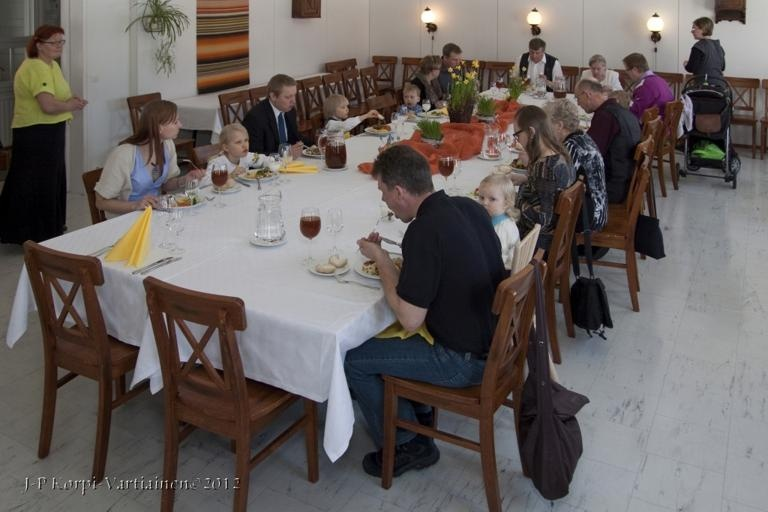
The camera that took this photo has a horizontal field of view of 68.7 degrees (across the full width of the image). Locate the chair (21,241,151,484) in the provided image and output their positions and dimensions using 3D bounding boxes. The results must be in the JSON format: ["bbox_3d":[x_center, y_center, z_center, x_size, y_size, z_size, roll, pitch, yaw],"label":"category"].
[{"bbox_3d":[-1.580,0.511,2.940,0.605,1.217,0.508,10,21,36],"label":"chair"}]

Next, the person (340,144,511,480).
[{"bbox_3d":[0.203,0.318,2.825,0.750,1.668,0.494,3,17,20],"label":"person"}]

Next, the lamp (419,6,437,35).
[{"bbox_3d":[0.784,-4.086,9.781,0.273,0.459,0.188,-1,17,6],"label":"lamp"}]

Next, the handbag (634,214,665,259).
[{"bbox_3d":[2.048,-0.136,4.337,0.258,0.322,0.105,2,-6,-6],"label":"handbag"}]

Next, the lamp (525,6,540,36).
[{"bbox_3d":[2.448,-3.787,9.158,0.234,0.448,0.182,3,17,17],"label":"lamp"}]

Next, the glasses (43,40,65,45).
[{"bbox_3d":[-2.788,-1.796,4.740,0.052,0.041,0.145,10,23,34],"label":"glasses"}]

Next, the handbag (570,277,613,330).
[{"bbox_3d":[1.440,0.291,3.937,0.210,0.408,0.334,-5,6,-13],"label":"handbag"}]

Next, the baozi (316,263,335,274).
[{"bbox_3d":[-0.300,0.066,2.838,0.103,0.032,0.049,-3,19,0],"label":"baozi"}]

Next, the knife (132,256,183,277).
[{"bbox_3d":[-1.165,0.045,2.889,0.068,0.014,0.267,17,26,16],"label":"knife"}]

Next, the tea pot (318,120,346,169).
[{"bbox_3d":[-0.350,-0.828,4.436,0.177,0.329,0.303,7,10,36],"label":"tea pot"}]

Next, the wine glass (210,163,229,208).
[{"bbox_3d":[-1.090,-0.486,3.733,0.106,0.232,0.395,-8,19,-16],"label":"wine glass"}]

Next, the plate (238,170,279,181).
[{"bbox_3d":[-0.910,-0.574,4.063,0.275,0.074,0.146,-9,20,-16],"label":"plate"}]

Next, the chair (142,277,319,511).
[{"bbox_3d":[-0.729,0.653,2.684,0.602,1.171,0.719,13,28,21],"label":"chair"}]

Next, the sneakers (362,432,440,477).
[{"bbox_3d":[0.057,1.036,3.080,0.443,0.253,0.178,-4,13,-16],"label":"sneakers"}]

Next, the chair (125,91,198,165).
[{"bbox_3d":[-2.456,-1.272,6.212,0.573,0.865,0.624,-17,33,-37],"label":"chair"}]

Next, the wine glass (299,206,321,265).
[{"bbox_3d":[-0.397,-0.140,3.037,0.097,0.275,0.337,-5,18,-7],"label":"wine glass"}]

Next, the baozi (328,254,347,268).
[{"bbox_3d":[-0.235,0.023,2.905,0.062,0.046,0.071,8,19,4],"label":"baozi"}]

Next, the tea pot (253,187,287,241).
[{"bbox_3d":[-0.651,-0.221,3.192,0.172,0.273,0.178,1,10,0],"label":"tea pot"}]

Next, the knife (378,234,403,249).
[{"bbox_3d":[0.032,-0.073,3.081,0.129,0.014,0.015,31,17,-24],"label":"knife"}]
